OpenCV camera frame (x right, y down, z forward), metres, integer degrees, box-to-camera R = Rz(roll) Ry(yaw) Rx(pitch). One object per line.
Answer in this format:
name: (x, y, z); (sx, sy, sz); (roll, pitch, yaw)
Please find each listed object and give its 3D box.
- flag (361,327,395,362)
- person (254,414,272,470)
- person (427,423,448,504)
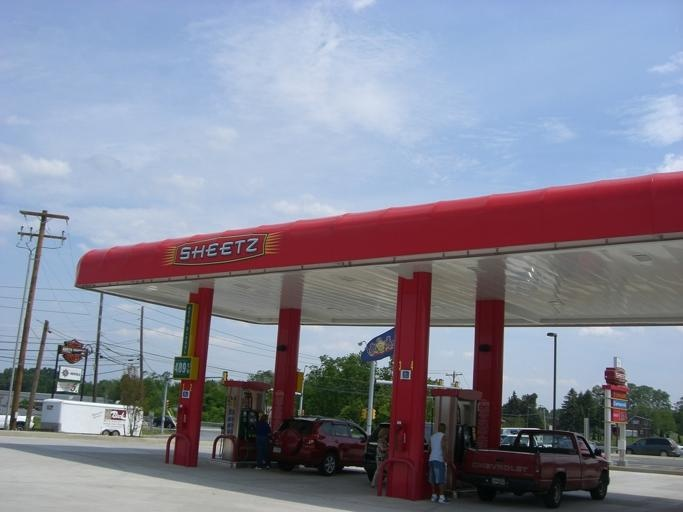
flag: (1.963, 4.576, 33.956); (1.979, 1.375, 1.932); (-1, 6, 0)
person: (-2.679, 6.250, 22.360); (0.549, 1.829, 1.022); (5, -15, -6)
person: (2.570, 5.460, 17.505); (0.447, 1.974, 1.118); (1, -15, 9)
